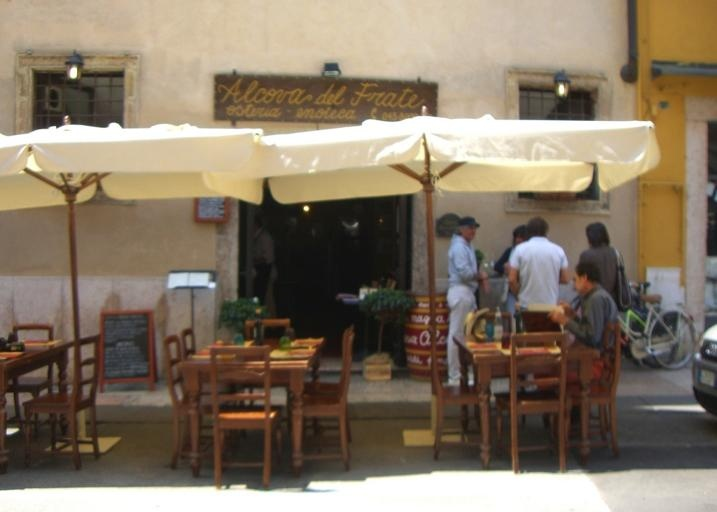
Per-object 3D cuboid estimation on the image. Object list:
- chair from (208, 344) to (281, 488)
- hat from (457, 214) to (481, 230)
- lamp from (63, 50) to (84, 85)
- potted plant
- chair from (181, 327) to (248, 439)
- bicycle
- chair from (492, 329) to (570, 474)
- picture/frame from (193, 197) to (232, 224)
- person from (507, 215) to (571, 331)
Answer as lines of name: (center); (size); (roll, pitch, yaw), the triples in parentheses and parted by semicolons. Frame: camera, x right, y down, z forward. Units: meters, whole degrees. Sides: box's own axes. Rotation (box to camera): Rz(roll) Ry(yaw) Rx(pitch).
chair: (-1.501, 1.947, 13.285); (0.857, 1.766, 1.651); (-1, 5, -9)
hat: (1.644, -0.536, 15.556); (0.199, 0.152, 0.273); (6, -13, -22)
lamp: (-4.587, -3.079, 16.308); (0.287, 0.444, 0.529); (-2, 5, -18)
potted plant: (0.468, 1.202, 16.213); (1.283, 1.810, 1.174); (1, 7, 1)
chair: (-1.934, 1.691, 13.302); (0.995, 1.118, 1.057); (2, 3, 25)
bicycle: (4.826, 1.330, 16.253); (1.585, 1.069, 0.805); (0, -1, -16)
chair: (2.270, 1.816, 13.188); (0.910, 1.779, 1.147); (0, 4, 11)
picture/frame: (-2.360, -0.717, 16.389); (0.632, 0.640, 0.340); (0, -2, 0)
person: (2.727, 0.539, 15.287); (0.821, 2.511, 0.701); (-2, 30, 5)
